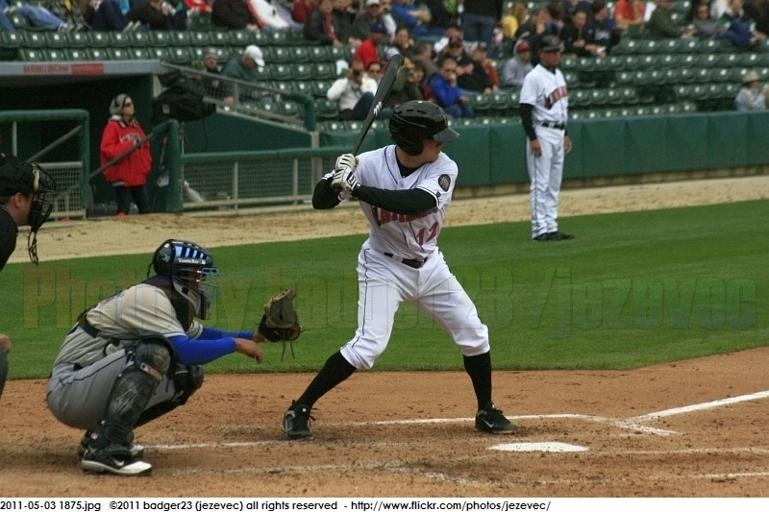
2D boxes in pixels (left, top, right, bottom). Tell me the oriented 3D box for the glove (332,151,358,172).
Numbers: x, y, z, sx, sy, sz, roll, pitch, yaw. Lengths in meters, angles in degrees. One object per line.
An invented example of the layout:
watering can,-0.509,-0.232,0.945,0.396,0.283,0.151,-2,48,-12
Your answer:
glove,-0.370,-0.865,13.049,0.198,0.079,0.145,10,38,18

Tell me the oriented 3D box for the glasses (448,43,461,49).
glasses,1.150,-3.401,22.949,0.217,0.062,0.193,-3,8,-8

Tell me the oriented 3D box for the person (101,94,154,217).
person,-3.554,-1.371,19.357,0.651,1.615,0.410,-4,9,-11

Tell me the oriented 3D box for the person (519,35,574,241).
person,2.076,-1.495,18.272,0.571,2.634,0.552,0,9,13

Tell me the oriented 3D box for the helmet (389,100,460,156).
helmet,0.367,-1.198,13.152,0.656,0.401,0.417,-1,31,-4

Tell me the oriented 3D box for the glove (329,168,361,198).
glove,-0.358,-0.659,13.019,0.221,0.124,0.271,15,52,5

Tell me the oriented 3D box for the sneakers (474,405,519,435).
sneakers,1.041,1.532,13.261,0.409,0.180,0.197,1,4,20

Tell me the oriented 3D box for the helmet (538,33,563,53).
helmet,2.074,-2.711,18.072,0.328,0.160,0.253,9,23,43

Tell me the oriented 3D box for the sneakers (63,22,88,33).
sneakers,-4.660,-3.434,21.330,0.313,0.103,0.199,-4,24,-23

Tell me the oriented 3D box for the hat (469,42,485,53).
hat,1.582,-3.518,23.794,0.255,0.117,0.344,5,11,18
